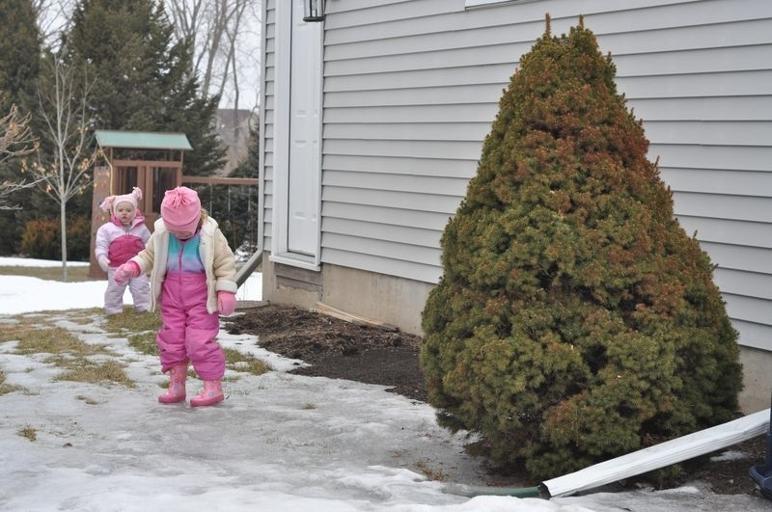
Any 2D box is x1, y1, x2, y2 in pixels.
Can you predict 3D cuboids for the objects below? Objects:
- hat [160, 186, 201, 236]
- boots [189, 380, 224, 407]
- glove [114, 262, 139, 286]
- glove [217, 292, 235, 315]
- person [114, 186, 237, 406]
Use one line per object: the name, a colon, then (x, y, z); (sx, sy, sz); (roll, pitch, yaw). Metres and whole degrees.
hat: (-1.910, -0.399, 8.586); (0.347, 0.486, 0.461); (-4, -14, -2)
boots: (-1.756, 1.349, 8.628); (0.331, 0.344, 0.173); (2, -7, -23)
glove: (-2.535, 0.188, 8.753); (0.196, 0.252, 0.114); (39, -22, 4)
glove: (-1.559, 0.471, 8.712); (0.174, 0.257, 0.246); (-1, 12, -13)
person: (-1.966, 0.360, 8.678); (0.987, 2.058, 0.703); (0, 11, -6)
